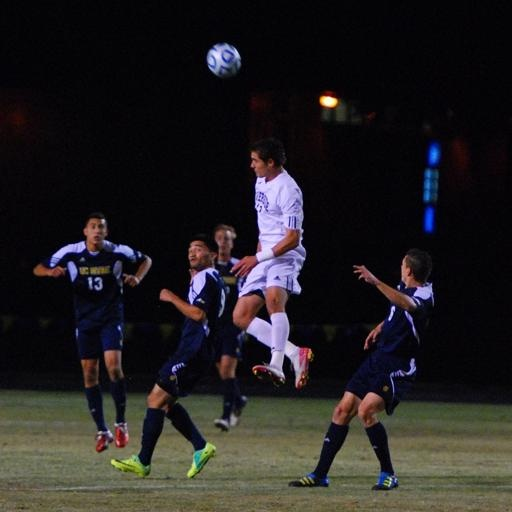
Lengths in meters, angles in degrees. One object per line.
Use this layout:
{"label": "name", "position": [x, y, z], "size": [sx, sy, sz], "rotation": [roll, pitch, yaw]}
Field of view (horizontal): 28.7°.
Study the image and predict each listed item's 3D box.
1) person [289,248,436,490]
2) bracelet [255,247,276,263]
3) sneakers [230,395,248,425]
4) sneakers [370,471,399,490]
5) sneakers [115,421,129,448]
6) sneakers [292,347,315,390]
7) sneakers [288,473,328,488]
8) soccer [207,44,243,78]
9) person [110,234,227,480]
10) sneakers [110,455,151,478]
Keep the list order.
{"label": "person", "position": [1.029, 0.959, 8.700], "size": [1.044, 2.044, 0.543], "rotation": [0, 2, 0]}
{"label": "bracelet", "position": [0.079, -0.016, 9.739], "size": [0.166, 0.143, 0.256], "rotation": [0, 1, -4]}
{"label": "sneakers", "position": [-0.215, 1.827, 11.640], "size": [0.114, 0.143, 0.330], "rotation": [1, 25, 16]}
{"label": "sneakers", "position": [1.108, 1.915, 8.581], "size": [0.212, 0.136, 0.320], "rotation": [0, 1, 11]}
{"label": "sneakers", "position": [-1.335, 1.783, 9.971], "size": [0.111, 0.298, 0.130], "rotation": [-4, -41, -5]}
{"label": "sneakers", "position": [0.459, 1.086, 9.888], "size": [0.225, 0.442, 0.151], "rotation": [6, -31, 5]}
{"label": "sneakers", "position": [0.435, 1.930, 8.677], "size": [0.366, 0.151, 0.120], "rotation": [4, -9, -2]}
{"label": "soccer", "position": [-0.398, -2.462, 12.523], "size": [0.435, 0.426, 0.412], "rotation": [-7, 13, 2]}
{"label": "person", "position": [-0.695, 0.897, 8.968], "size": [0.858, 2.151, 0.572], "rotation": [0, 2, -5]}
{"label": "sneakers", "position": [-1.104, 1.871, 8.888], "size": [0.311, 0.157, 0.111], "rotation": [22, -27, -6]}
